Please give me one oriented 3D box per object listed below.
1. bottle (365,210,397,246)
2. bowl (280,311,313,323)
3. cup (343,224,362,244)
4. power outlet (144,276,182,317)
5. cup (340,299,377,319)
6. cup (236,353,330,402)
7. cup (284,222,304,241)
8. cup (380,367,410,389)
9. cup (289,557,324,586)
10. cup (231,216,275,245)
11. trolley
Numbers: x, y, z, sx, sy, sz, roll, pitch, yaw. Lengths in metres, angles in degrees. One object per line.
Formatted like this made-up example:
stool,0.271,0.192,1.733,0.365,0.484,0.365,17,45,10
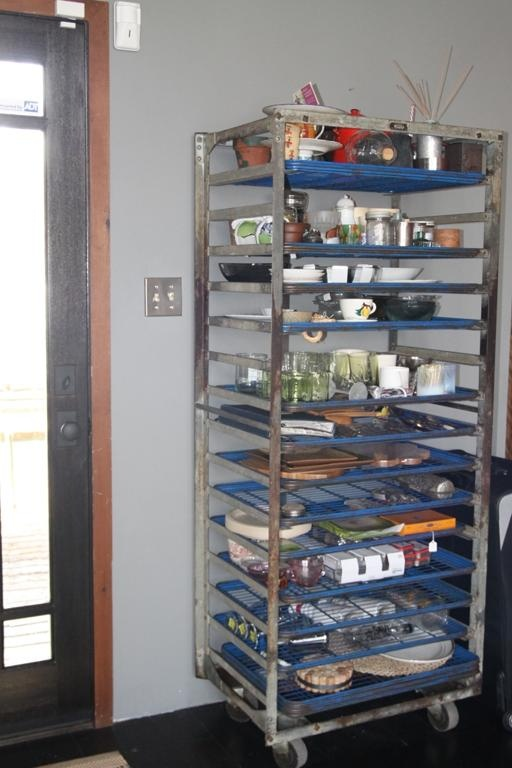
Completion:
bottle,0.319,-0.398,1.812,0.078,0.116,0.139,1,2,11
bowl,0.101,-0.162,1.719,0.028,0.027,0.132,2,3,31
cup,0.244,-0.396,1.859,0.055,0.059,0.052,0,15,0
power outlet,-0.266,-0.246,1.985,0.115,0.116,0.020,0,8,-26
cup,0.265,-0.190,1.802,0.071,0.045,0.058,-1,11,-17
cup,0.081,-0.015,1.774,0.160,0.099,0.155,2,1,0
cup,0.089,-0.355,1.660,0.043,0.041,0.043,1,9,0
cup,0.367,-0.019,1.875,0.051,0.049,0.067,-3,10,-25
cup,0.125,0.472,1.786,0.082,0.062,0.081,-2,1,0
cup,-0.006,-0.402,1.858,0.055,0.070,0.183,0,3,-29
trolley,0.315,0.130,2.054,0.940,1.735,0.611,0,2,-28
